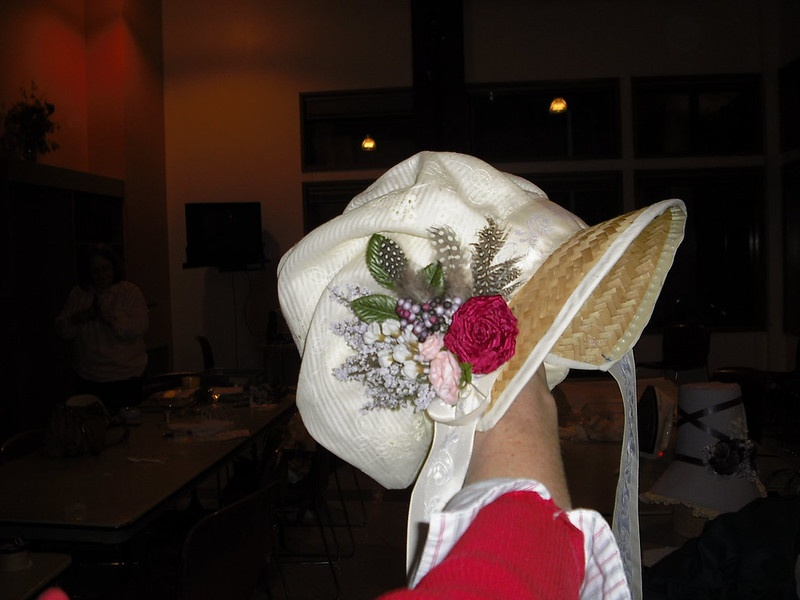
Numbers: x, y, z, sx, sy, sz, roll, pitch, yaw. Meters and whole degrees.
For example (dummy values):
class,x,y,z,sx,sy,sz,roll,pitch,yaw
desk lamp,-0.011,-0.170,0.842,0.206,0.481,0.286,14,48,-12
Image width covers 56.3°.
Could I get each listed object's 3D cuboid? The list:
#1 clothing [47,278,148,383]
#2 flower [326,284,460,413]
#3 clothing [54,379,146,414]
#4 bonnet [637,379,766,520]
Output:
class,x,y,z,sx,sy,sz,roll,pitch,yaw
clothing,-2.684,0.253,6.780,0.780,0.913,0.600,2,2,-2
flower,-0.009,0.240,3.079,0.464,0.551,0.187,3,9,15
clothing,-2.385,0.777,6.026,0.272,0.300,0.299,-1,-5,2
bonnet,1.756,0.809,4.340,0.549,0.698,1.189,-1,0,19
